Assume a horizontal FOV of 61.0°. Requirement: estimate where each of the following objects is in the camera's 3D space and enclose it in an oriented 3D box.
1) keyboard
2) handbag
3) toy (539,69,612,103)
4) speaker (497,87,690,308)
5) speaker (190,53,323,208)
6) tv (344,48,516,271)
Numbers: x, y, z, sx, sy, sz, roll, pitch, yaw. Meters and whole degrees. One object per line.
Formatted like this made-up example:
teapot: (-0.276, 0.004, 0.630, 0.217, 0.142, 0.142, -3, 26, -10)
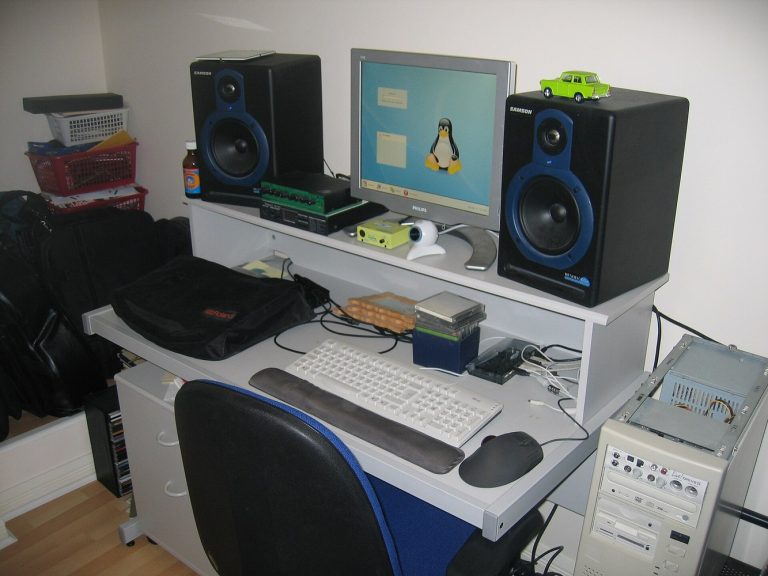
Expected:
keyboard: (-0.023, 0.312, 1.788, 0.664, 0.078, 0.266, 13, 36, 41)
handbag: (-0.572, 0.048, 2.054, 0.424, 0.108, 0.320, 19, 35, 34)
toy: (0.472, -0.485, 1.612, 0.145, 0.070, 0.090, 27, 41, 29)
speaker: (0.524, -0.276, 1.724, 0.371, 0.479, 0.352, -16, 26, -31)
speaker: (-0.443, -0.562, 2.281, 0.406, 0.471, 0.415, -5, 25, -11)
tv: (0.146, -0.433, 1.991, 0.496, 0.597, 0.383, 12, 36, 19)
